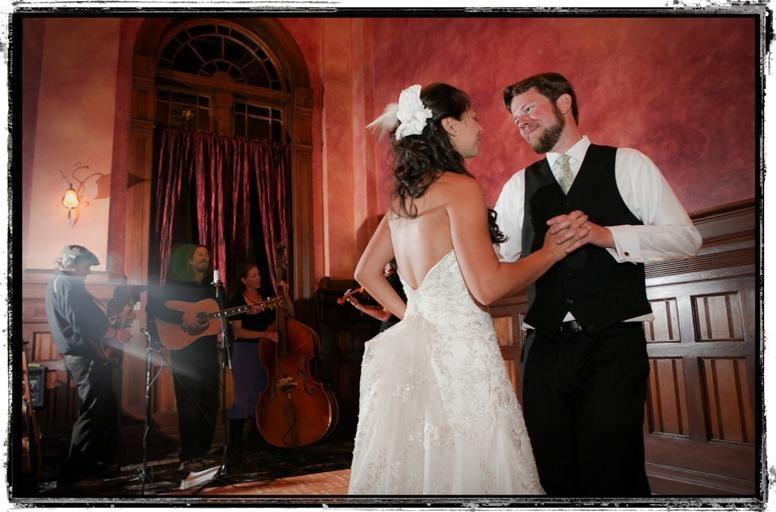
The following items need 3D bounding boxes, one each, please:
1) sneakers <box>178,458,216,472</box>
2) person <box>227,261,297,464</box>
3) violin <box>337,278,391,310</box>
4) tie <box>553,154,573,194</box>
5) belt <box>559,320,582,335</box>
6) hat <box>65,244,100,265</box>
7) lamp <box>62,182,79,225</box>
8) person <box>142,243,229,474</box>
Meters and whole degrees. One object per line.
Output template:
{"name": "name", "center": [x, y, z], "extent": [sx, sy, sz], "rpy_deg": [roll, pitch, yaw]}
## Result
{"name": "sneakers", "center": [-1.830, 1.997, 5.637], "extent": [0.139, 0.143, 0.520], "rpy_deg": [0, -12, -37]}
{"name": "person", "center": [-1.338, 1.095, 6.128], "extent": [0.708, 1.848, 0.557], "rpy_deg": [0, -7, -17]}
{"name": "violin", "center": [-0.327, 0.453, 6.734], "extent": [0.691, 0.147, 0.312], "rpy_deg": [-14, 13, -31]}
{"name": "tie", "center": [1.022, -0.489, 3.429], "extent": [0.067, 0.255, 0.062], "rpy_deg": [-7, -22, 23]}
{"name": "belt", "center": [1.005, 0.396, 3.269], "extent": [0.072, 0.042, 0.102], "rpy_deg": [-3, -6, -10]}
{"name": "hat", "center": [-2.931, -0.020, 5.645], "extent": [0.280, 0.140, 0.195], "rpy_deg": [4, -2, -35]}
{"name": "lamp", "center": [-3.641, -0.668, 6.739], "extent": [0.148, 0.365, 0.144], "rpy_deg": [1, -5, -8]}
{"name": "person", "center": [-1.896, 1.065, 5.886], "extent": [0.959, 2.561, 0.379], "rpy_deg": [1, -7, -9]}
